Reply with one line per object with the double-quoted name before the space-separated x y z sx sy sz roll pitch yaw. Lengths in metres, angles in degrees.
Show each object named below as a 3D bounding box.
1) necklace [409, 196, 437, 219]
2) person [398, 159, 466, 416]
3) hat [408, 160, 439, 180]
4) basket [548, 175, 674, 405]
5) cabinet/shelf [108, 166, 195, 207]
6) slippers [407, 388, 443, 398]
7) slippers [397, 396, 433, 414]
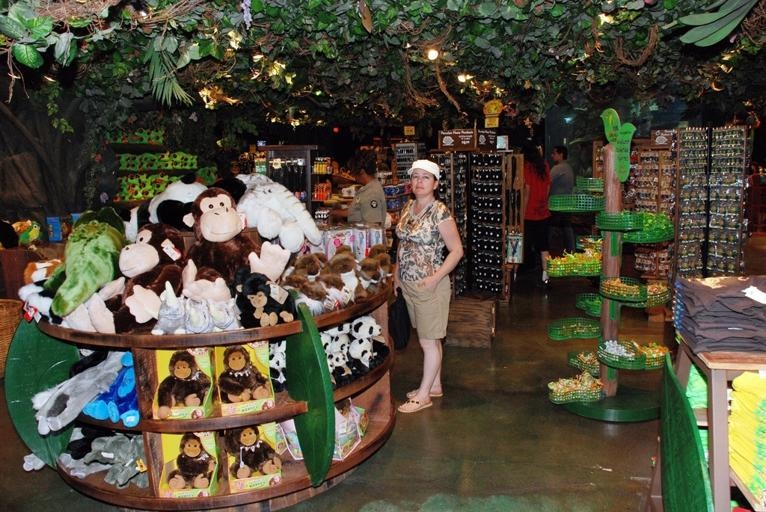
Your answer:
"necklace" 0.329 -0.417 4.423 0.192 0.135 0.142 1 20 34
"person" 0.407 0.277 4.505 0.624 2.165 0.432 2 8 27
"hat" 0.340 -0.717 4.394 0.249 0.168 0.275 -1 7 4
"basket" 1.953 0.132 4.624 0.808 2.083 0.714 5 9 42
"cabinet/shelf" -3.025 -0.867 6.610 0.997 0.298 0.973 -7 10 -40
"slippers" 0.395 1.266 4.781 0.262 0.091 0.138 1 2 -1
"slippers" 0.276 1.308 4.634 0.228 0.052 0.122 0 0 -20
